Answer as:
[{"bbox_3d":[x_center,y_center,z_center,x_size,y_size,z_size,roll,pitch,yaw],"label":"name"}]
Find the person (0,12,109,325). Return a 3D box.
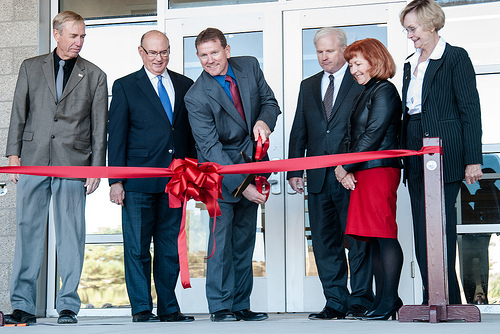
[{"bbox_3d":[-1.499,-0.021,5.863,0.778,2.409,0.364,-1,-7,-12],"label":"person"}]

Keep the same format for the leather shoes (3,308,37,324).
[{"bbox_3d":[-1.716,1.132,5.662,0.259,0.114,0.101,15,-24,-27],"label":"leather shoes"}]

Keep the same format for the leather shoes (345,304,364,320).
[{"bbox_3d":[0.778,1.095,5.686,0.079,0.078,0.201,-2,-2,34],"label":"leather shoes"}]

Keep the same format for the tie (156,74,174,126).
[{"bbox_3d":[-0.681,-0.534,6.029,0.081,0.462,0.036,-21,-13,-18],"label":"tie"}]

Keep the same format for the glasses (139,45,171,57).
[{"bbox_3d":[-0.753,-0.916,6.001,0.235,0.110,0.133,0,-6,-15],"label":"glasses"}]

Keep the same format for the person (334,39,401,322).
[{"bbox_3d":[0.728,0.079,5.546,0.597,1.778,0.647,-3,-18,8],"label":"person"}]

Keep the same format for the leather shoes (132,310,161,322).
[{"bbox_3d":[-0.813,1.154,5.808,0.177,0.057,0.091,7,-9,2],"label":"leather shoes"}]

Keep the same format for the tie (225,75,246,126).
[{"bbox_3d":[-0.116,-0.517,5.759,0.145,0.359,0.139,0,11,-3],"label":"tie"}]

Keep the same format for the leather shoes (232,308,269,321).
[{"bbox_3d":[-0.003,1.128,5.750,0.282,0.102,0.088,-2,-4,0],"label":"leather shoes"}]

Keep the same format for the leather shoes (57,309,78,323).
[{"bbox_3d":[-1.380,1.122,5.676,0.135,0.092,0.124,-1,-6,-12],"label":"leather shoes"}]

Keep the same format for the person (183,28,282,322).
[{"bbox_3d":[-0.121,0.058,5.725,0.583,2.200,0.569,-5,-8,26],"label":"person"}]

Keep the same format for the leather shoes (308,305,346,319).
[{"bbox_3d":[0.599,1.135,5.870,0.299,0.110,0.096,5,-17,-11],"label":"leather shoes"}]

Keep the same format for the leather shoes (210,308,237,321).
[{"bbox_3d":[-0.202,1.097,5.601,0.176,0.069,0.079,1,-21,20],"label":"leather shoes"}]

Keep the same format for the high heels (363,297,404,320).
[{"bbox_3d":[0.921,1.024,5.378,0.368,0.136,0.115,0,-2,2],"label":"high heels"}]

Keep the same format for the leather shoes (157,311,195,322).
[{"bbox_3d":[-0.579,1.160,5.866,0.277,0.102,0.087,-1,-6,4],"label":"leather shoes"}]

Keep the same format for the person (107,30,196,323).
[{"bbox_3d":[-0.741,0.082,6.284,0.902,2.206,0.701,0,-6,-3],"label":"person"}]
